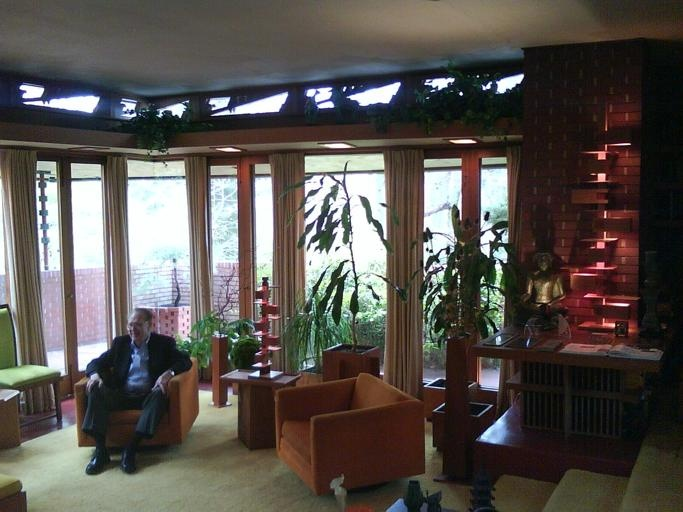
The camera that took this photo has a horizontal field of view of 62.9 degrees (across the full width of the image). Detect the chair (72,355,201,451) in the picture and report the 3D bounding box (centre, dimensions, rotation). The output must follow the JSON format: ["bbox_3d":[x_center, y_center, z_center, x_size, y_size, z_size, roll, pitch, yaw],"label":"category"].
[{"bbox_3d":[-1.917,1.404,5.548,0.844,0.770,0.865,0,-7,-2],"label":"chair"}]

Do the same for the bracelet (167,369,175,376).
[{"bbox_3d":[-1.639,1.123,5.375,0.045,0.033,0.045,3,5,21],"label":"bracelet"}]

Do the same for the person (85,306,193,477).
[{"bbox_3d":[-1.991,1.246,5.369,0.948,1.364,1.008,2,-5,-3],"label":"person"}]

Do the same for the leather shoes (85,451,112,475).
[{"bbox_3d":[-2.167,1.832,4.971,0.158,0.148,0.238,4,8,37],"label":"leather shoes"}]

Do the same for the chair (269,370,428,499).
[{"bbox_3d":[0.053,1.421,4.650,1.042,0.699,0.791,-3,7,-19],"label":"chair"}]

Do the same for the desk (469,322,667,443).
[{"bbox_3d":[1.823,1.015,4.430,1.238,0.770,0.661,2,7,23],"label":"desk"}]

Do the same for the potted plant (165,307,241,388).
[{"bbox_3d":[-1.716,0.991,6.988,1.069,1.041,0.915,-2,2,-41],"label":"potted plant"}]
